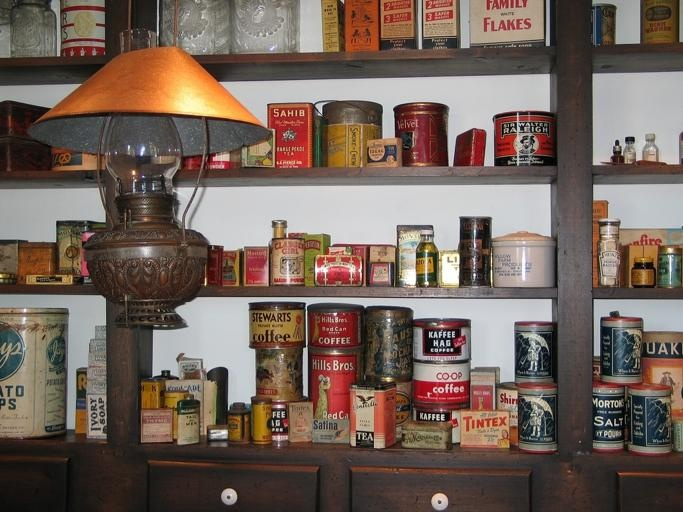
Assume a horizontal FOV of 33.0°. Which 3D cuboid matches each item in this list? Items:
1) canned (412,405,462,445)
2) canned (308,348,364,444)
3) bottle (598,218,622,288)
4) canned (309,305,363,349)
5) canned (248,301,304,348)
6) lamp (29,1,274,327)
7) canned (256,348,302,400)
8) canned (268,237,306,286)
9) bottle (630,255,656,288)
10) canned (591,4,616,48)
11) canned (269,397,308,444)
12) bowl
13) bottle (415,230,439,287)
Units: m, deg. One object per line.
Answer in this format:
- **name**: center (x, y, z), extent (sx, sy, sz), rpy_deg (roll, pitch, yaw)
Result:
- **canned**: center (0.366, 0.620, 4.334), extent (0.155, 0.094, 0.154), rpy_deg (0, -1, 19)
- **canned**: center (-0.020, 0.524, 4.366), extent (0.194, 0.256, 0.133), rpy_deg (-1, 1, 7)
- **bottle**: center (1.015, -0.016, 4.334), extent (0.090, 0.253, 0.055), rpy_deg (-1, 1, -8)
- **canned**: center (-0.024, 0.262, 4.371), extent (0.170, 0.122, 0.169), rpy_deg (0, -2, 8)
- **canned**: center (-0.240, 0.251, 4.385), extent (0.182, 0.132, 0.177), rpy_deg (-1, -2, 35)
- **lamp**: center (-0.615, -0.208, 3.987), extent (0.900, 1.016, 0.912), rpy_deg (1, -8, -5)
- **canned**: center (-0.230, 0.453, 4.489), extent (0.192, 0.201, 0.188), rpy_deg (-1, -3, 14)
- **canned**: center (-0.197, 0.019, 4.388), extent (0.162, 0.170, 0.161), rpy_deg (-3, -5, 33)
- **bottle**: center (1.131, 0.063, 4.313), extent (0.105, 0.116, 0.101), rpy_deg (-1, -2, 30)
- **canned**: center (1.025, -0.877, 4.416), extent (0.073, 0.164, 0.219), rpy_deg (-1, 1, 26)
- **canned**: center (-0.194, 0.626, 4.351), extent (0.163, 0.147, 0.078), rpy_deg (-1, 3, 7)
- **bowl**: center (0.690, 0.020, 4.314), extent (0.210, 0.179, 0.209), rpy_deg (0, -3, 0)
- **bottle**: center (0.330, 0.011, 4.364), extent (0.090, 0.138, 0.079), rpy_deg (-1, 1, 4)
